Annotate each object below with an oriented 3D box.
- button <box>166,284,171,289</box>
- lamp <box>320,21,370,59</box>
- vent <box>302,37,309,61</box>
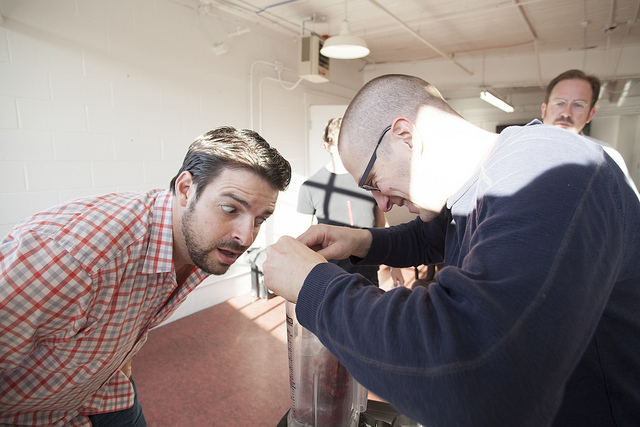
[{"bbox_3d":[-0.661,0.316,1.859,0.019,0.017,0.004,1,11,-17],"label":"button"},{"bbox_3d":[0.253,-1.703,4.101,0.455,0.297,0.444,3,5,34],"label":"lamp"},{"bbox_3d":[-0.173,-1.960,5.066,0.106,0.262,0.031,14,18,36],"label":"vent"}]
